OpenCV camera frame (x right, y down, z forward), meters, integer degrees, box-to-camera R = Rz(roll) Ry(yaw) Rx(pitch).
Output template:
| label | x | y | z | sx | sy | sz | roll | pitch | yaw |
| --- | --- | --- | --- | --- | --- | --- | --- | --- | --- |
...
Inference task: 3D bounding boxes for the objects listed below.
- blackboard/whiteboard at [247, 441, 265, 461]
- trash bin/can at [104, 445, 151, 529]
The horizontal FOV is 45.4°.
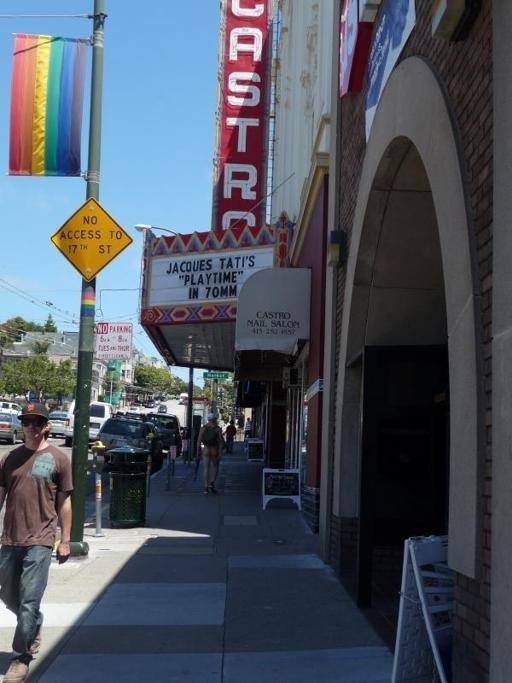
| label | x | y | z | sx | sy | sz | roll | pitch | yaw |
| --- | --- | --- | --- | --- | --- | --- | --- | --- | --- |
| blackboard/whiteboard | 0.047 | 5.474 | 30.292 | 0.707 | 1.556 | 0.746 | 1 | 4 | 3 |
| trash bin/can | -2.061 | 2.367 | 10.193 | 0.781 | 1.798 | 0.986 | 1 | -3 | -6 |
